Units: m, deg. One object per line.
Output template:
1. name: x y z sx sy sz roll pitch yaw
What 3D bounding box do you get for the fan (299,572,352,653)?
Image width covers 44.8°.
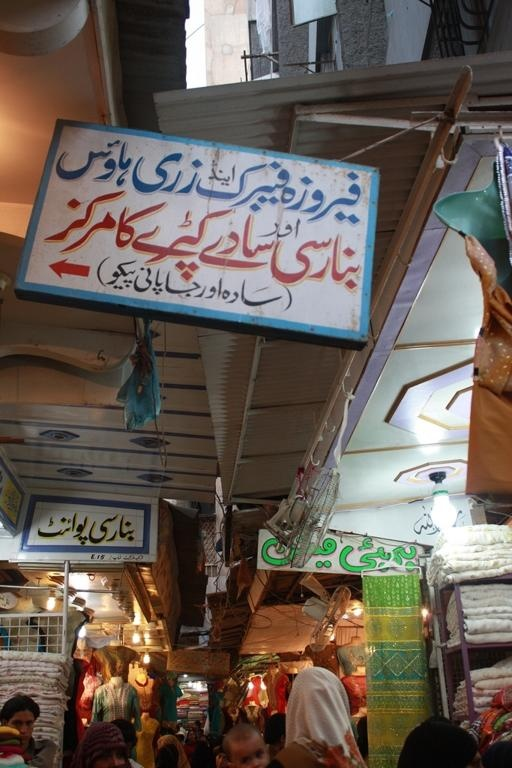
1. fan: 0.874 2.787 7.634 0.562 0.838 1.261 -4 -19 3

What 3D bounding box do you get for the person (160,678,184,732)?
1. person: -1.836 6.795 13.361 0.573 1.312 0.219 3 3 0

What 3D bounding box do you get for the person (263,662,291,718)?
1. person: 0.431 6.440 12.961 0.606 1.197 0.313 -7 9 1
